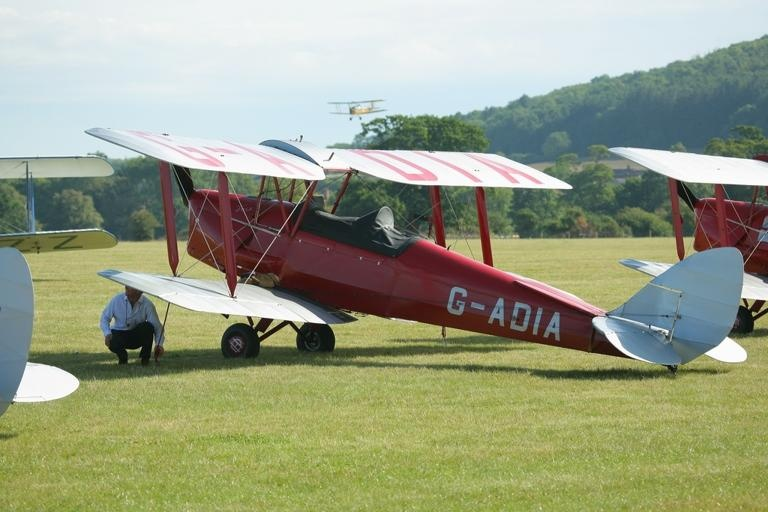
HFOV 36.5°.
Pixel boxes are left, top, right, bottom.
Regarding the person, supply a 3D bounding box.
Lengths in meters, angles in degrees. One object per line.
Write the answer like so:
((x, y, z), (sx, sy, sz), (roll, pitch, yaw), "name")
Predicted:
((-4.112, 1.074, 18.974), (1.125, 1.312, 0.827), (5, 5, -12), "person")

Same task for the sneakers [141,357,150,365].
((-3.886, 1.691, 18.947), (0.169, 0.114, 0.057), (5, -4, -13), "sneakers")
